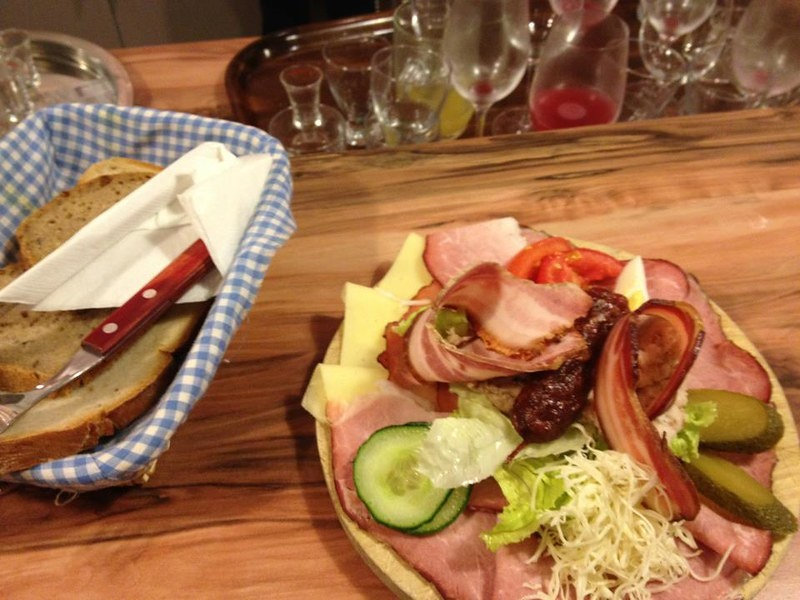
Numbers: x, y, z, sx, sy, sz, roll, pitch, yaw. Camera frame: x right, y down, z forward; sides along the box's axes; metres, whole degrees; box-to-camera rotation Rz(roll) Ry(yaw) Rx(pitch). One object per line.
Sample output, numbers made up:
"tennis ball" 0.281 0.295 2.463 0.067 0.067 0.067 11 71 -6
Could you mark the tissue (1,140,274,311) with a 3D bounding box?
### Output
"tissue" -0.446 -0.094 1.268 0.350 0.102 0.383 29 63 25
